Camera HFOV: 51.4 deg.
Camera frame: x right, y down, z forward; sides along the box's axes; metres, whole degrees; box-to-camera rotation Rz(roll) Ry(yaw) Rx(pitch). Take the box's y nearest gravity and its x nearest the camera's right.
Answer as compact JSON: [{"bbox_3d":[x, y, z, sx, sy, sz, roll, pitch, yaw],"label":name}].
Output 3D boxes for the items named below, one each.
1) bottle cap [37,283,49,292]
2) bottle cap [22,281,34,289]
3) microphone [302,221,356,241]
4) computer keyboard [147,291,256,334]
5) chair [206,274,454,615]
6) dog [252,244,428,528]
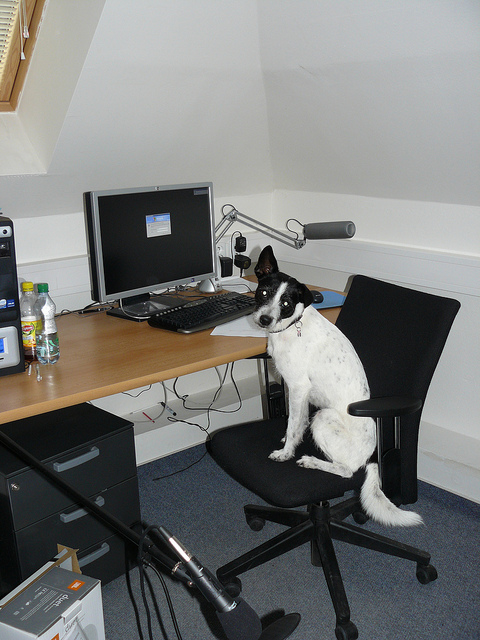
[{"bbox_3d":[-0.629,-0.106,1.593,0.031,0.027,0.031,0,8,-9],"label":"bottle cap"},{"bbox_3d":[-0.680,-0.114,1.599,0.030,0.020,0.030,2,19,-3],"label":"bottle cap"},{"bbox_3d":[0.364,-0.362,2.072,0.240,0.081,0.083,2,5,27],"label":"microphone"},{"bbox_3d":[-0.126,-0.043,2.022,0.245,0.056,0.480,17,28,40],"label":"computer keyboard"},{"bbox_3d":[0.287,0.418,1.760,0.679,0.868,0.681,0,3,-37],"label":"chair"},{"bbox_3d":[0.353,0.188,1.587,0.775,0.605,0.336,18,12,33],"label":"dog"}]
